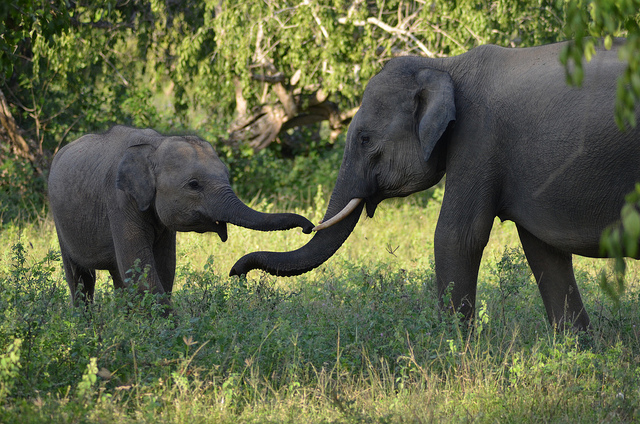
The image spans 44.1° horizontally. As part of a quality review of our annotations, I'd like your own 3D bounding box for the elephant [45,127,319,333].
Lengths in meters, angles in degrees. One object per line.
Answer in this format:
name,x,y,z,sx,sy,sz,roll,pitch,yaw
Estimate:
elephant,-1.460,0.239,7.243,3.040,1.964,0.998,-1,6,33
